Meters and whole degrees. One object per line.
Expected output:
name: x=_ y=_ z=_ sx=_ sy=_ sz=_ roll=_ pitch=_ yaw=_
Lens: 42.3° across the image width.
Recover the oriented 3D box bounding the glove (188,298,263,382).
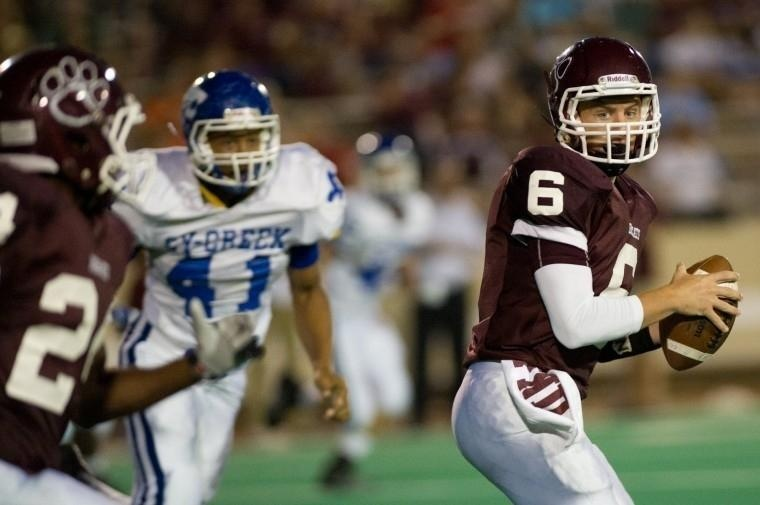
glove: x=-0.452 y=0.241 z=2.889 sx=0.141 sy=0.259 sz=0.173 roll=-10 pitch=32 yaw=-24
